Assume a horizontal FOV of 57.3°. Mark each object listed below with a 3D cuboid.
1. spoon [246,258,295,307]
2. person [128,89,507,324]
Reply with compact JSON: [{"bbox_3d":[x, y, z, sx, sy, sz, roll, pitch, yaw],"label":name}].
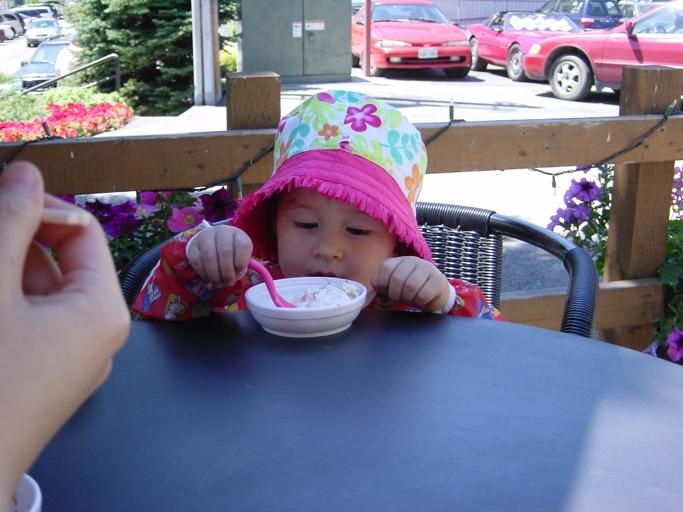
[{"bbox_3d":[-0.155,0.058,1.357,0.138,0.023,0.032,54,8,19],"label":"spoon"},{"bbox_3d":[-0.014,-0.053,1.565,0.840,0.626,0.717,5,23,11],"label":"person"}]
